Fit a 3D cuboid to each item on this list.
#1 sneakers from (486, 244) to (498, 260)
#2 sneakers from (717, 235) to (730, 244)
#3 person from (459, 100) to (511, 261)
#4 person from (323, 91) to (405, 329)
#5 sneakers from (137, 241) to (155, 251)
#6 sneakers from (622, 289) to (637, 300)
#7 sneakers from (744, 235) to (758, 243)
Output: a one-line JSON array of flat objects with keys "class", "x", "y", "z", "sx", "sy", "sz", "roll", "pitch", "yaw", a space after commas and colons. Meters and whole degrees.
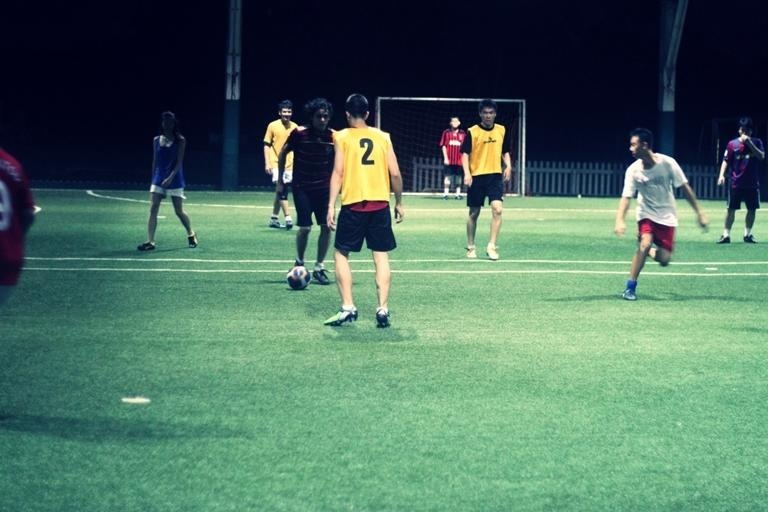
[{"class": "sneakers", "x": 1.844, "y": -0.078, "z": 13.964, "sx": 0.169, "sy": 0.244, "sz": 0.351, "roll": 2, "pitch": 9, "yaw": 6}, {"class": "sneakers", "x": 6.943, "y": -0.334, "z": 16.780, "sx": 0.319, "sy": 0.136, "sz": 0.113, "roll": 5, "pitch": 10, "yaw": 43}, {"class": "person", "x": 1.750, "y": -1.328, "z": 14.245, "sx": 0.843, "sy": 2.686, "sz": 1.420, "roll": 2, "pitch": 8, "yaw": 7}, {"class": "person", "x": -0.225, "y": -0.492, "z": 9.035, "sx": 0.824, "sy": 2.502, "sz": 0.551, "roll": 1, "pitch": 8, "yaw": -2}, {"class": "sneakers", "x": -4.117, "y": -0.179, "z": 14.158, "sx": 0.288, "sy": 0.119, "sz": 0.142, "roll": 2, "pitch": 6, "yaw": -5}, {"class": "sneakers", "x": 3.222, "y": 0.477, "z": 10.750, "sx": 0.181, "sy": 0.141, "sz": 0.314, "roll": 4, "pitch": 9, "yaw": 16}, {"class": "sneakers", "x": 7.527, "y": -0.354, "z": 16.880, "sx": 0.124, "sy": 0.120, "sz": 0.296, "roll": 6, "pitch": 10, "yaw": 39}]
